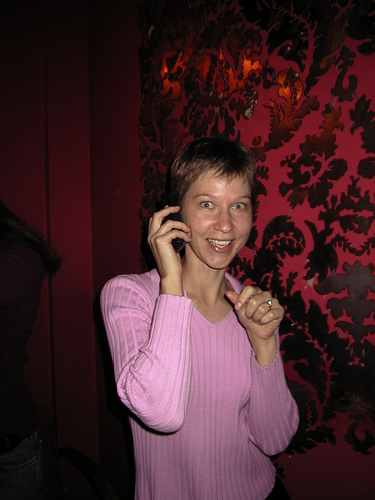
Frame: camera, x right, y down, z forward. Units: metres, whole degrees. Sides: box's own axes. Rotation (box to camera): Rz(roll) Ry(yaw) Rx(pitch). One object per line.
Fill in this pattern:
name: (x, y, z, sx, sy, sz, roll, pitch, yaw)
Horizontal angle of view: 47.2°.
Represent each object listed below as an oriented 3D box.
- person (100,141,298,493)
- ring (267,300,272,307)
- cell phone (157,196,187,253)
person: (0.038, 0.227, 1.410, 0.669, 1.217, 0.414, 1, 5, -38)
ring: (0.261, 0.174, 1.374, 0.013, 0.015, 0.004, -16, 5, -7)
cell phone: (-0.072, -0.088, 1.441, 0.053, 0.175, 0.118, -6, 5, -14)
